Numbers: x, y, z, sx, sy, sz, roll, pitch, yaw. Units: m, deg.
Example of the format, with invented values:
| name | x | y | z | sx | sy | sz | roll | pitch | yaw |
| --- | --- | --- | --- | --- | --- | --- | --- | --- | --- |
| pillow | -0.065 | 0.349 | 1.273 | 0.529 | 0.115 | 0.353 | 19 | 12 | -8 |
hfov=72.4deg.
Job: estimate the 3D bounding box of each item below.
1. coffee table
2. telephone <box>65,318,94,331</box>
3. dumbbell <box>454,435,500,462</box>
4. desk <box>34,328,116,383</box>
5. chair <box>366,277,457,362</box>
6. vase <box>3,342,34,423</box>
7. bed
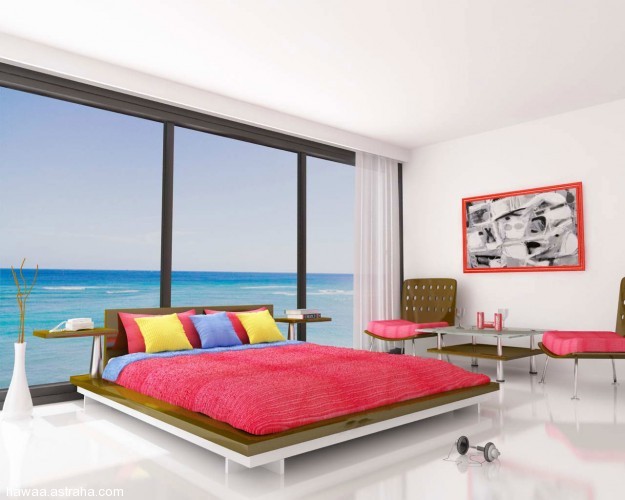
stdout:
| name | x | y | z | sx | sy | sz | roll | pitch | yaw |
| --- | --- | --- | --- | --- | --- | --- | --- | --- | --- |
| coffee table | 2.339 | 1.183 | 5.323 | 1.059 | 0.421 | 0.991 | -1 | 0 | -31 |
| telephone | -2.173 | 0.680 | 3.947 | 0.208 | 0.082 | 0.200 | 2 | -3 | -43 |
| dumbbell | 0.988 | 1.202 | 2.658 | 0.133 | 0.109 | 0.288 | 7 | -6 | -44 |
| desk | -2.144 | 0.944 | 3.858 | 0.288 | 0.379 | 0.563 | -11 | -17 | 44 |
| chair | 1.248 | 0.988 | 6.471 | 1.380 | 1.353 | 1.326 | 6 | -9 | -43 |
| vase | -2.495 | 1.087 | 3.640 | 0.225 | 0.612 | 0.489 | 4 | -6 | -31 |
| bed | -0.273 | 1.057 | 3.428 | 1.514 | 0.397 | 1.652 | 1 | -2 | -41 |
